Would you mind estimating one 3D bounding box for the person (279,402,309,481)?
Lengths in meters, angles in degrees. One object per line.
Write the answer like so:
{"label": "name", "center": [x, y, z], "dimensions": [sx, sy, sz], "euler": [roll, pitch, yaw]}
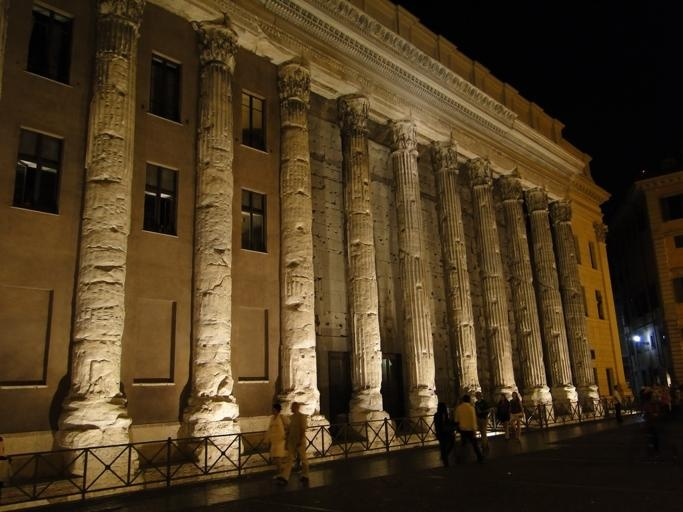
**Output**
{"label": "person", "center": [-1.237, 4.796, 15.334], "dimensions": [0.718, 1.929, 1.097], "euler": [-7, -19, 6]}
